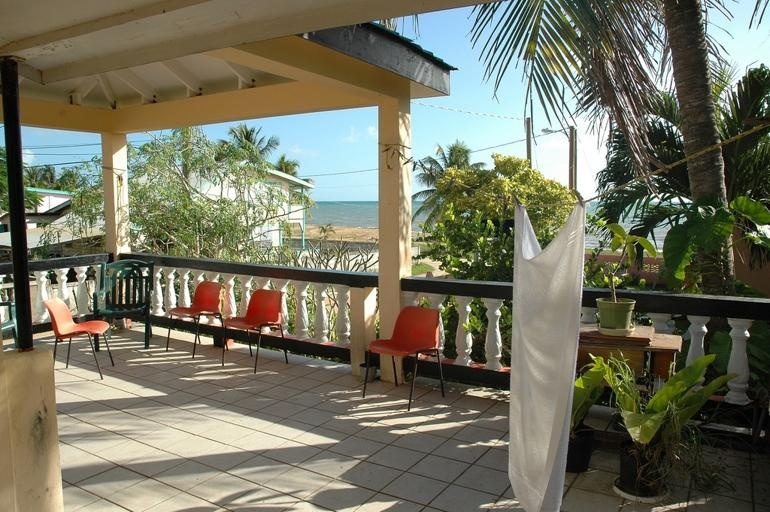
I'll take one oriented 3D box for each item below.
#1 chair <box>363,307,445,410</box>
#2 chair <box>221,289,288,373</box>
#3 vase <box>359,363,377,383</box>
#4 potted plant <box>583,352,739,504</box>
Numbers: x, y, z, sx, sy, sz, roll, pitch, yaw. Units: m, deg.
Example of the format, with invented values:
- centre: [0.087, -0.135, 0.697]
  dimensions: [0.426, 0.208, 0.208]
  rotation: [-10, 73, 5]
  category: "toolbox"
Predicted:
- centre: [0.188, 1.008, 5.702]
  dimensions: [0.695, 0.880, 0.727]
  rotation: [0, 3, -39]
  category: "chair"
- centre: [-1.599, 0.860, 6.882]
  dimensions: [0.820, 0.970, 0.897]
  rotation: [-5, 15, -17]
  category: "chair"
- centre: [-0.177, 1.321, 6.319]
  dimensions: [0.174, 0.142, 0.195]
  rotation: [1, -4, -1]
  category: "vase"
- centre: [1.950, 1.241, 4.385]
  dimensions: [0.898, 1.083, 0.873]
  rotation: [-8, 16, -27]
  category: "potted plant"
